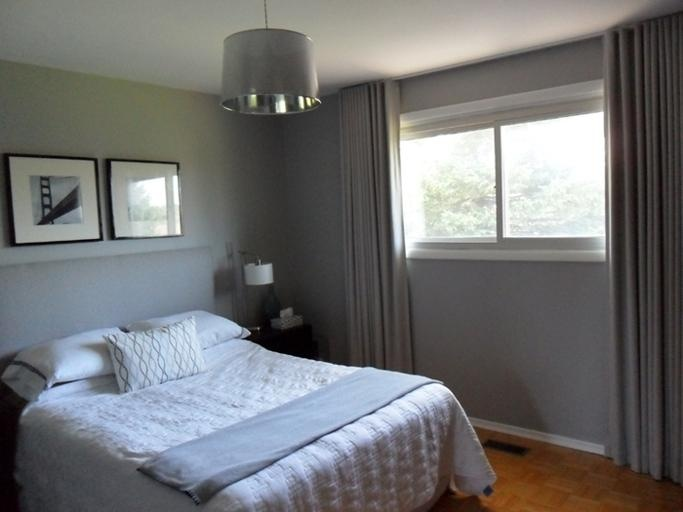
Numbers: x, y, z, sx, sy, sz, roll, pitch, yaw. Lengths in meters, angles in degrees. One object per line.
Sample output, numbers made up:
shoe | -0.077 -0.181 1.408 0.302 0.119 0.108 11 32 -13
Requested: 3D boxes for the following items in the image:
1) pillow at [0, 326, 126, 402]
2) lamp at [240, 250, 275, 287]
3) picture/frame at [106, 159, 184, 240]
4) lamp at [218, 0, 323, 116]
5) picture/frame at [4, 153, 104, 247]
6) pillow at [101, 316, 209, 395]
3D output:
pillow | -1.916 0.741 3.649 0.506 0.145 0.504 -21 15 -34
lamp | -0.821 0.119 5.075 0.231 0.284 0.413 -4 3 -42
picture/frame | -1.690 -0.481 4.488 0.650 0.722 0.049 -6 6 -42
lamp | -0.427 -1.208 3.090 0.574 0.664 0.508 -4 7 -13
picture/frame | -2.205 -0.428 4.008 0.057 0.738 0.653 6 9 37
pillow | -1.342 0.740 3.939 0.251 0.465 0.699 -18 -8 36
